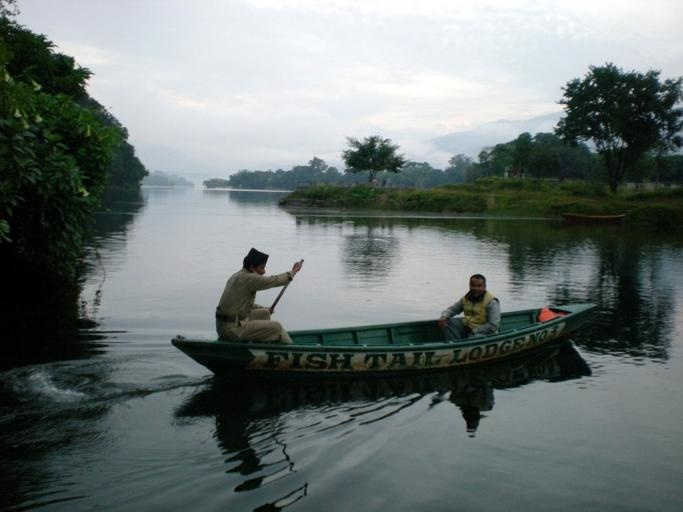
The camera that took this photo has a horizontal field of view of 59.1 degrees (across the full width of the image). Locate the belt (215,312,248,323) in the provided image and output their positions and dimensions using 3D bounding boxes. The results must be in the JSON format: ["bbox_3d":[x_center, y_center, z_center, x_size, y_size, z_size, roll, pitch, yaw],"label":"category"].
[{"bbox_3d":[-2.044,1.108,11.036,0.572,0.173,0.188,3,10,8],"label":"belt"}]

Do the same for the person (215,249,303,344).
[{"bbox_3d":[-1.603,0.758,11.034,1.313,1.743,0.645,-1,11,-11],"label":"person"}]

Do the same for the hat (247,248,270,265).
[{"bbox_3d":[-1.566,0.039,11.130,0.383,0.283,0.318,6,10,-35],"label":"hat"}]
